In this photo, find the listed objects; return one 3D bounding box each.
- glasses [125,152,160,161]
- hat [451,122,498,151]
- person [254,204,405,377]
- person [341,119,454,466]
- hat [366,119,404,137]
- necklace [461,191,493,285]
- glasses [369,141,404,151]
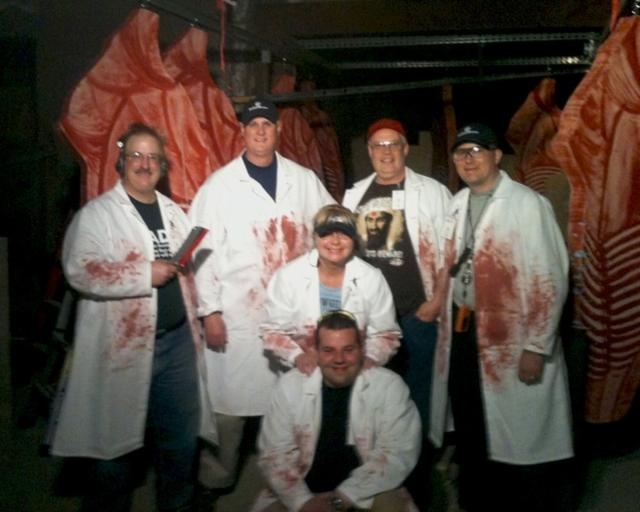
[{"bbox_3d":[-0.667,-0.373,2.155,0.115,0.034,0.019,-3,6,-21],"label":"glasses"},{"bbox_3d":[0.639,-0.471,2.313,0.149,0.111,0.246,5,1,22],"label":"hat"},{"bbox_3d":[0.039,0.211,2.223,0.567,0.779,0.417,2,8,2],"label":"person"},{"bbox_3d":[0.311,0.156,2.451,0.521,1.458,0.499,-1,10,18],"label":"person"},{"bbox_3d":[0.274,-0.539,2.385,0.127,0.094,0.123,-4,7,-28],"label":"hat"},{"bbox_3d":[0.646,-0.071,2.349,0.121,0.377,0.069,2,7,21],"label":"necklace"},{"bbox_3d":[0.285,-0.458,2.368,0.156,0.044,0.042,0,6,5],"label":"glasses"}]
